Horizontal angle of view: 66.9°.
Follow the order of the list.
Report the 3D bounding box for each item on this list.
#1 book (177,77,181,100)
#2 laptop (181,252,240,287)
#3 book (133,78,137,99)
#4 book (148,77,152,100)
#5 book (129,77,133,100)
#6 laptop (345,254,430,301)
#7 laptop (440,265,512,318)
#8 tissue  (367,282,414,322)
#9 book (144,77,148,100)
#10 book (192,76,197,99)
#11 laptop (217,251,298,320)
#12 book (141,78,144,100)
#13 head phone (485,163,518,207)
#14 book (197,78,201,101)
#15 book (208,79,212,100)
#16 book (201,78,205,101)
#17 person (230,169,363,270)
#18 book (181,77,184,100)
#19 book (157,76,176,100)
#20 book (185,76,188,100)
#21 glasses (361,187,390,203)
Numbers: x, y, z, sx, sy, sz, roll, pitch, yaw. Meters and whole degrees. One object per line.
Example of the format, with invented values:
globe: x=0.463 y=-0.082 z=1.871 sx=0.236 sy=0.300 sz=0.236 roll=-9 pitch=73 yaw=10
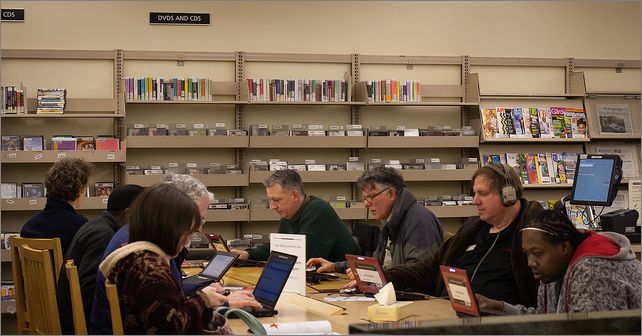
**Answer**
book: x=-1.989 y=-1.106 z=6.848 sx=0.071 sy=0.291 sz=0.029 roll=-1 pitch=-3 yaw=-13
laptop: x=-1.055 y=0.988 z=4.726 sx=0.184 sy=0.357 sz=0.364 roll=38 pitch=-17 yaw=-29
book: x=-2.607 y=-1.094 z=6.809 sx=0.053 sy=0.281 sz=0.031 roll=-2 pitch=-3 yaw=7
book: x=-2.395 y=-1.105 z=6.812 sx=0.060 sy=0.299 sz=0.029 roll=-1 pitch=-3 yaw=-17
book: x=-2.654 y=-1.107 z=6.806 sx=0.044 sy=0.288 sz=0.036 roll=-1 pitch=-3 yaw=-12
laptop: x=0.575 y=0.914 z=4.391 sx=0.530 sy=0.300 sz=0.549 roll=3 pitch=-5 yaw=-29
laptop: x=1.268 y=1.008 z=3.957 sx=0.425 sy=0.420 sz=0.437 roll=-5 pitch=-5 yaw=17
tissue : x=0.592 y=1.143 z=4.119 sx=0.286 sy=0.217 sz=0.384 roll=-5 pitch=-4 yaw=32
book: x=-2.452 y=-1.103 z=6.805 sx=0.042 sy=0.298 sz=0.028 roll=-1 pitch=-3 yaw=-14
book: x=-1.787 y=-1.115 z=6.874 sx=0.078 sy=0.300 sz=0.048 roll=-1 pitch=-3 yaw=-17
laptop: x=-0.562 y=0.958 z=4.219 sx=0.501 sy=0.594 sz=0.457 roll=11 pitch=6 yaw=-40
book: x=-2.507 y=-1.103 z=6.803 sx=0.074 sy=0.298 sz=0.031 roll=-2 pitch=-3 yaw=1
head phone: x=1.659 y=0.173 z=4.489 sx=0.164 sy=0.335 sz=0.351 roll=-14 pitch=-9 yaw=-2
book: x=-1.729 y=-1.112 z=6.889 sx=0.061 sy=0.290 sz=0.043 roll=-1 pitch=-3 yaw=-16
book: x=-1.607 y=-1.115 z=6.969 sx=0.049 sy=0.313 sz=0.146 roll=-1 pitch=-3 yaw=-4
book: x=-1.683 y=-1.110 z=6.899 sx=0.072 sy=0.301 sz=0.041 roll=-1 pitch=-3 yaw=-12
person: x=-0.126 y=0.532 z=5.291 sx=1.486 sy=0.835 sz=0.906 roll=3 pitch=-13 yaw=-26
book: x=-1.953 y=-1.117 z=6.853 sx=0.052 sy=0.273 sz=0.029 roll=-1 pitch=-3 yaw=-14
book: x=-2.137 y=-1.104 z=6.873 sx=0.325 sy=0.360 sz=0.332 roll=0 pitch=3 yaw=-14
book: x=-1.900 y=-1.108 z=6.861 sx=0.043 sy=0.290 sz=0.033 roll=-1 pitch=-3 yaw=-14
glasses: x=0.541 y=0.280 z=4.957 sx=0.207 sy=0.050 sz=0.183 roll=-8 pitch=-5 yaw=-26
